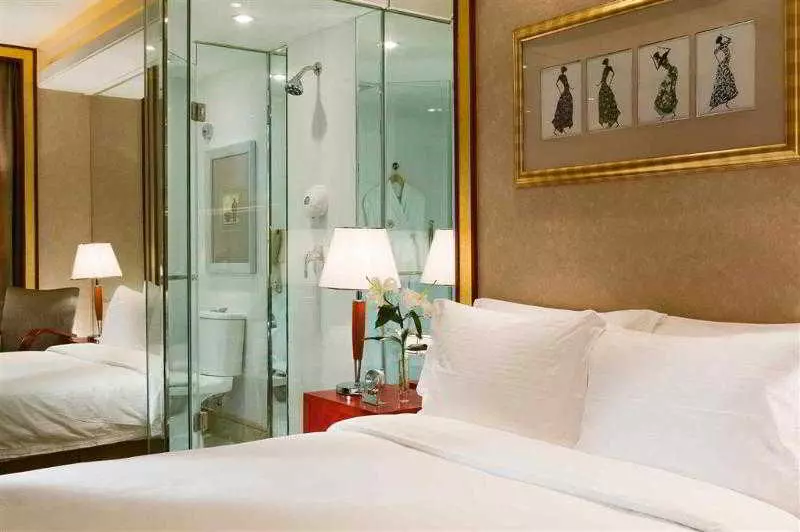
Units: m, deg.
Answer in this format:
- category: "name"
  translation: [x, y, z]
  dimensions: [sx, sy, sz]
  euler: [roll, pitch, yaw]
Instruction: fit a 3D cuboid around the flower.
- category: "flower"
  translation: [0.096, 0.373, 3.447]
  dimensions: [0.487, 0.693, 0.598]
  euler: [4, -7, -21]
